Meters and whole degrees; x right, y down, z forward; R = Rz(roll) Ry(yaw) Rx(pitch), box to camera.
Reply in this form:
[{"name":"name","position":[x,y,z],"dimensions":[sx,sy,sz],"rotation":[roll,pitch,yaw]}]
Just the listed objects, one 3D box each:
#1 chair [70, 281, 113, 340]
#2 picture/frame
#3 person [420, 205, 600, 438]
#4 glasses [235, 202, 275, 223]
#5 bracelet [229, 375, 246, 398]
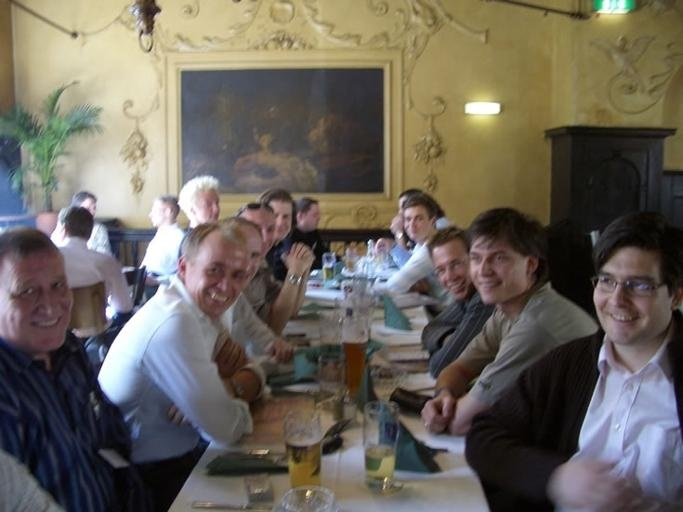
[{"name":"chair","position":[-1.545,0.263,3.343],"dimensions":[0.230,0.384,0.227],"rotation":[-14,41,-36]},{"name":"picture/frame","position":[-0.660,-1.566,6.412],"dimensions":[2.007,1.483,0.079],"rotation":[0,5,3]},{"name":"person","position":[0.619,0.207,2.021],"dimensions":[0.632,0.788,0.445],"rotation":[-8,10,-14]},{"name":"glasses","position":[-0.468,-0.243,3.106],"dimensions":[0.144,0.044,0.143],"rotation":[-6,-7,41]},{"name":"bracelet","position":[-0.341,0.433,1.796],"dimensions":[0.015,0.052,0.050],"rotation":[-30,-51,24]}]
